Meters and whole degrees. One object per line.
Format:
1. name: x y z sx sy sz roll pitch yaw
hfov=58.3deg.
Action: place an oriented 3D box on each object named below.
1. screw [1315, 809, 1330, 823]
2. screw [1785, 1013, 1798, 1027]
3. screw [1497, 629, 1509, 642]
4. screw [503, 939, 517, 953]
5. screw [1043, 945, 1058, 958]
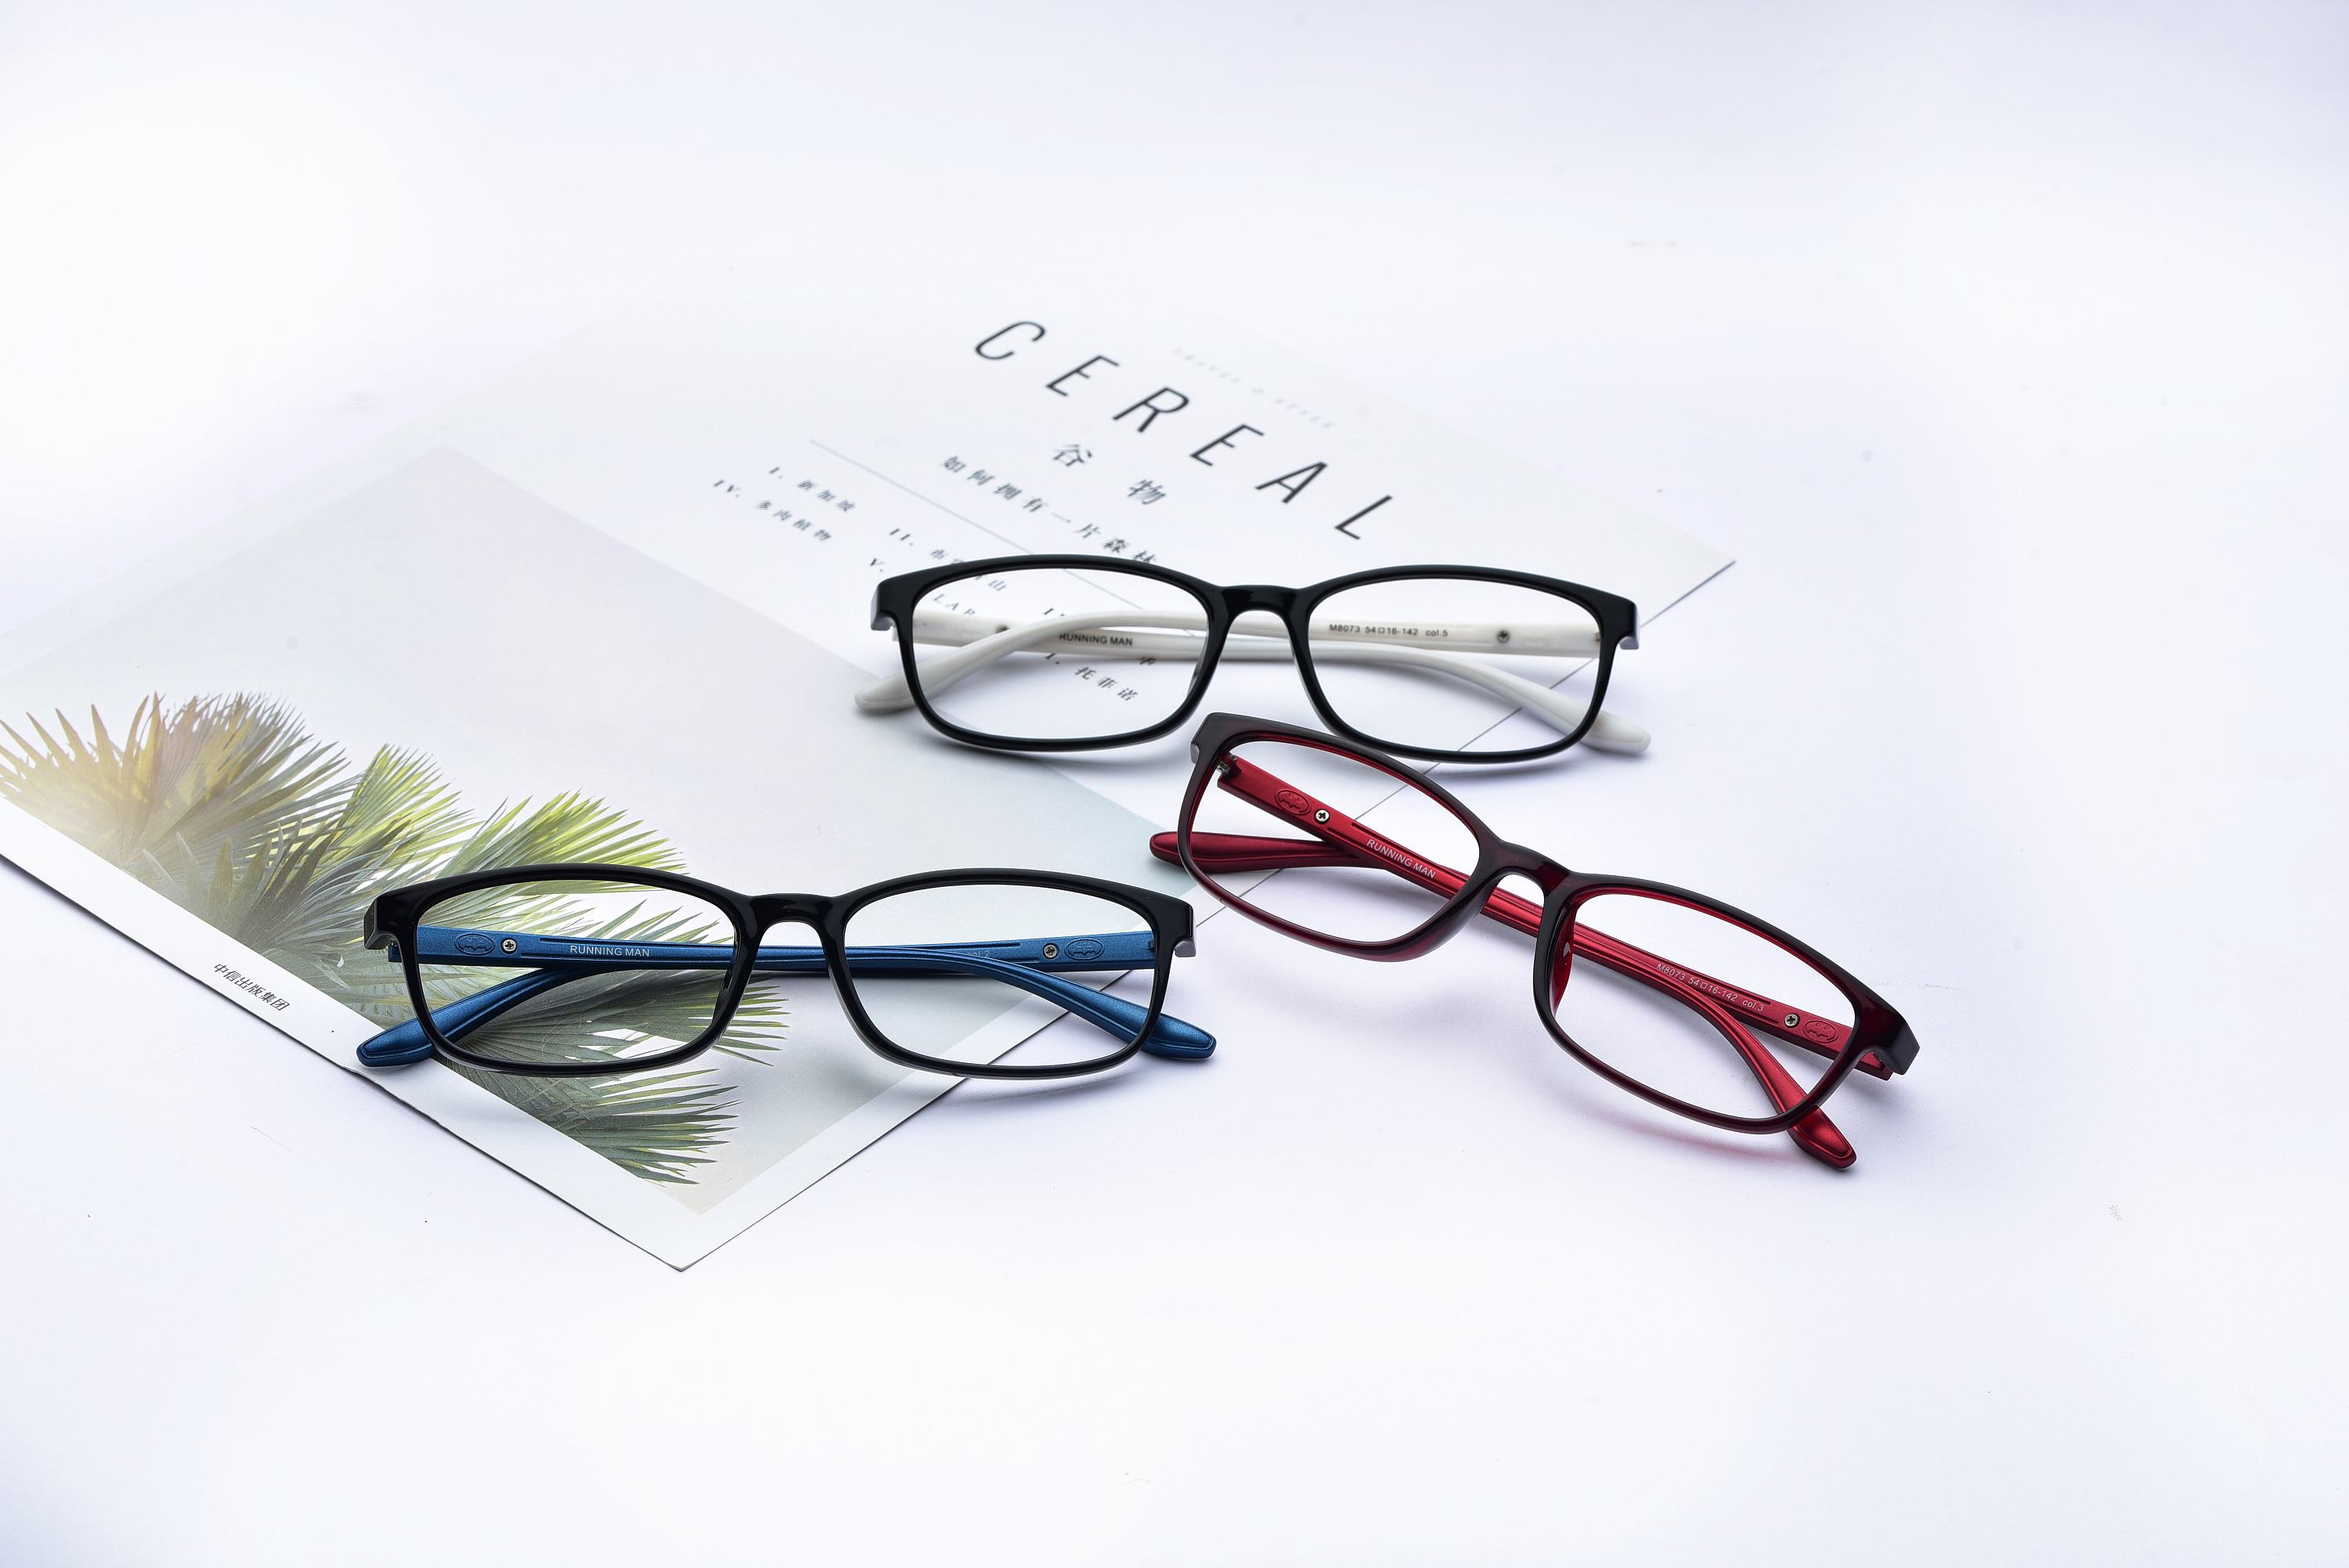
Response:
1. screw: 0.093 0.020 1.300 0.009 0.007 0.003 0 -21 -1
2. screw: 0.363 0.137 1.223 0.009 0.007 0.003 -4 -20 12
3. screw: 0.229 -0.101 1.443 0.010 0.008 0.002 4 -5 -2
4. screw: -0.378 0.091 1.180 0.009 0.007 0.003 4 -8 -12
5. screw: -0.073 0.097 1.226 0.010 0.007 0.003 1 -9 -2
